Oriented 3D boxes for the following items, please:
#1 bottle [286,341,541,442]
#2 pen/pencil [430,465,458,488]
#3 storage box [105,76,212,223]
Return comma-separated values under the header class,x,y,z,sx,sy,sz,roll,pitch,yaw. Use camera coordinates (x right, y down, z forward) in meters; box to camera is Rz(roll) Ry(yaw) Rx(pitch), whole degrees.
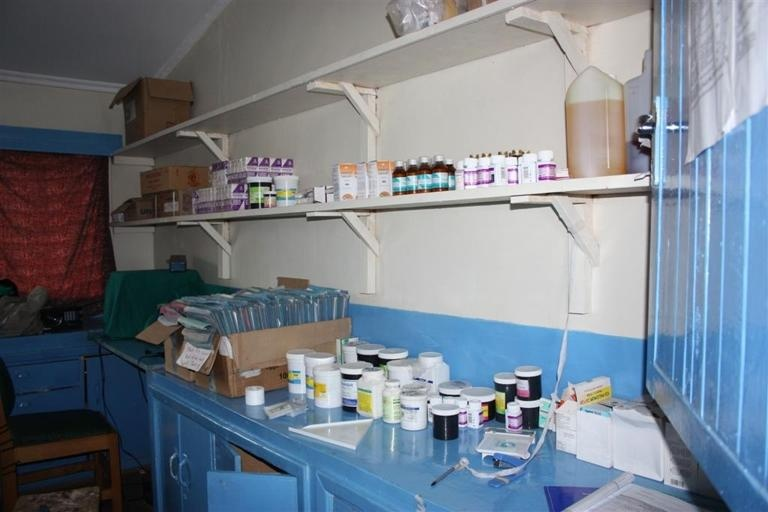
class,x,y,z,sx,sy,sz,roll,pitch,yaw
bottle,0.106,0.506,2.427,0.949,0.376,0.227,2,-3,34
pen/pencil,0.193,0.711,1.915,0.011,0.011,0.100,6,20,42
storage box,-1.495,-0.746,3.996,0.374,0.942,1.051,2,-5,-36
